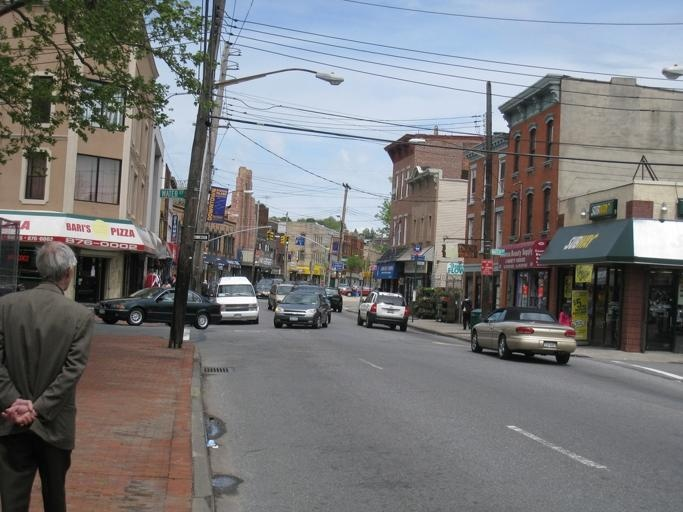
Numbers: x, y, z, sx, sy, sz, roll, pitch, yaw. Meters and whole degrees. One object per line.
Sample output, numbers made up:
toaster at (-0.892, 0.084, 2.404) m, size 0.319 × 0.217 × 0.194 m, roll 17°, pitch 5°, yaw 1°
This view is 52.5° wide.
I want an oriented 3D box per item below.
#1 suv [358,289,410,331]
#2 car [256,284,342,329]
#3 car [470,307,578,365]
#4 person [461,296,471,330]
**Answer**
suv at (2.023, 2.676, 35.772) m, size 1.462 × 1.393 × 2.924 m, roll 2°, pitch 2°, yaw -9°
car at (-1.745, 2.341, 30.938) m, size 2.040 × 1.728 × 3.138 m, roll 3°, pitch -4°, yaw 6°
car at (5.618, 2.436, 21.843) m, size 1.643 × 1.650 × 3.316 m, roll 5°, pitch -4°, yaw -24°
person at (6.704, 3.088, 37.014) m, size 0.345 × 1.643 × 2.570 m, roll 2°, pitch -3°, yaw 12°
